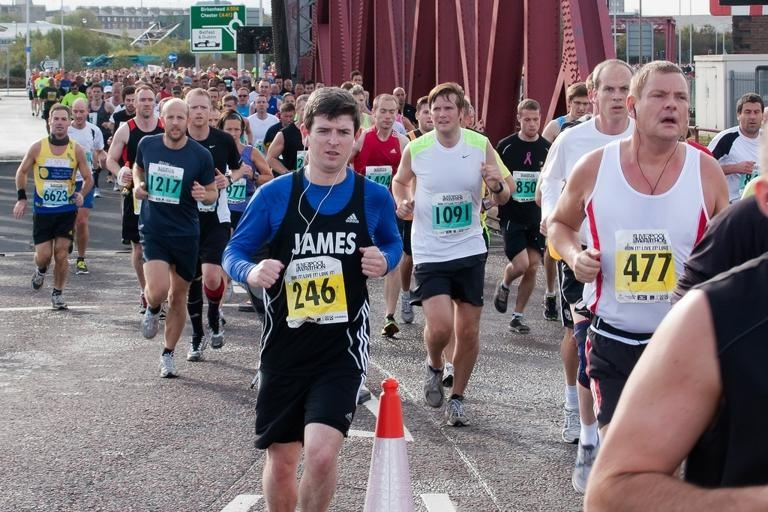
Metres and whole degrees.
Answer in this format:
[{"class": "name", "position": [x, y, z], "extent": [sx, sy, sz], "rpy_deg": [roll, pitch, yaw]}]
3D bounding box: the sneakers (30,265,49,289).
[{"class": "sneakers", "position": [-4.698, 0.298, 10.469], "extent": [0.114, 0.347, 0.136], "rpy_deg": [6, -5, -29]}]

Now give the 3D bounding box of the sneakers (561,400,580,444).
[{"class": "sneakers", "position": [1.348, 1.199, 5.591], "extent": [0.123, 0.282, 0.167], "rpy_deg": [2, 8, 12]}]

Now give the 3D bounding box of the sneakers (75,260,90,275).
[{"class": "sneakers", "position": [-4.581, 0.169, 11.639], "extent": [0.134, 0.173, 0.351], "rpy_deg": [0, 1, -15]}]
